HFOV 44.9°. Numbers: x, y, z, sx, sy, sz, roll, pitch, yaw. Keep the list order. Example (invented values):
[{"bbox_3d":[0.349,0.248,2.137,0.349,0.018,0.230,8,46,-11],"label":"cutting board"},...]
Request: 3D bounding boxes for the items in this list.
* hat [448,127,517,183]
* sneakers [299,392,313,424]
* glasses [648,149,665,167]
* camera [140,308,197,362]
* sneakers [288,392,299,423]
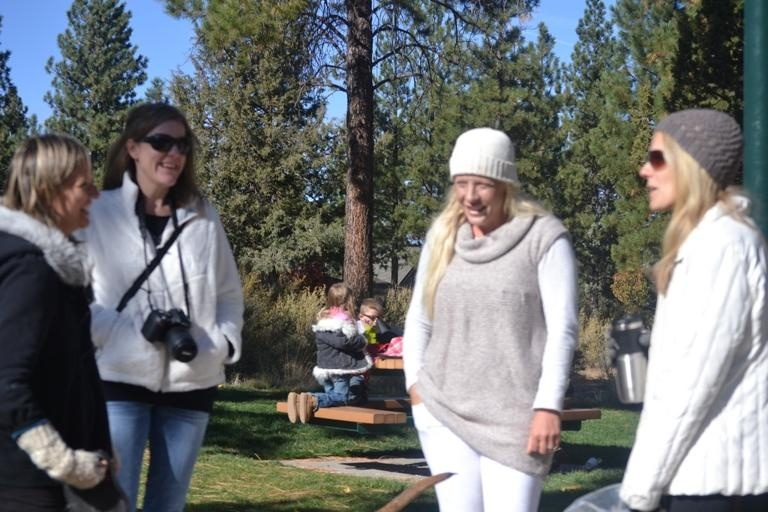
[{"bbox_3d":[0.514,-0.524,4.950,0.283,0.259,0.297,-3,-5,32],"label":"hat"},{"bbox_3d":[-0.833,1.565,9.701,0.134,0.371,0.109,1,-1,-34],"label":"sneakers"},{"bbox_3d":[1.295,-0.461,4.404,0.072,0.088,0.027,16,33,30],"label":"glasses"},{"bbox_3d":[-1.122,0.409,4.944,0.313,0.197,0.255,43,17,17],"label":"camera"},{"bbox_3d":[-0.979,1.582,9.782,0.110,0.364,0.138,-2,-5,23],"label":"sneakers"}]
